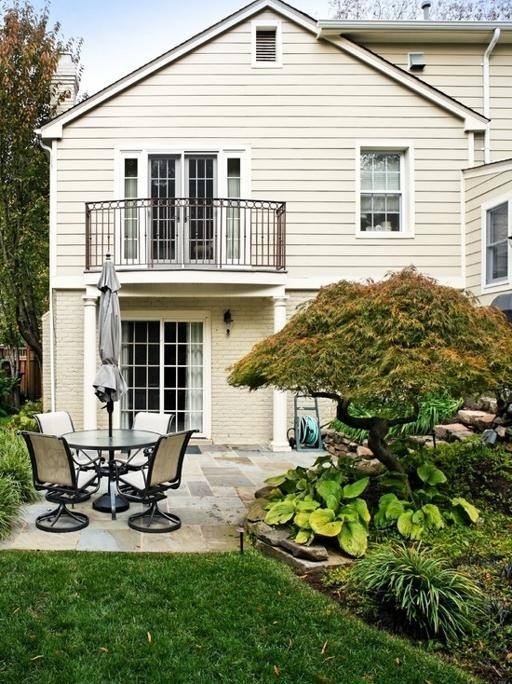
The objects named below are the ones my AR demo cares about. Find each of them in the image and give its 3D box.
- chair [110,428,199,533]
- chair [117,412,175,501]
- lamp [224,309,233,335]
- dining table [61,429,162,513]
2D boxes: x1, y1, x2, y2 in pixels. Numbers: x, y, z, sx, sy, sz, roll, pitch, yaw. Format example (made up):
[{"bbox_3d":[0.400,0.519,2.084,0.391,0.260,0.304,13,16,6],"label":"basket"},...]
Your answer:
[{"bbox_3d":[-0.848,1.116,6.503,0.581,0.793,0.518,3,3,25],"label":"chair"},{"bbox_3d":[-0.975,1.126,6.735,0.541,0.742,0.452,1,1,23],"label":"chair"},{"bbox_3d":[-0.383,-0.289,11.067,0.112,0.367,0.148,7,15,20],"label":"lamp"},{"bbox_3d":[-1.292,1.068,6.838,0.792,0.598,0.801,4,6,31],"label":"dining table"}]
